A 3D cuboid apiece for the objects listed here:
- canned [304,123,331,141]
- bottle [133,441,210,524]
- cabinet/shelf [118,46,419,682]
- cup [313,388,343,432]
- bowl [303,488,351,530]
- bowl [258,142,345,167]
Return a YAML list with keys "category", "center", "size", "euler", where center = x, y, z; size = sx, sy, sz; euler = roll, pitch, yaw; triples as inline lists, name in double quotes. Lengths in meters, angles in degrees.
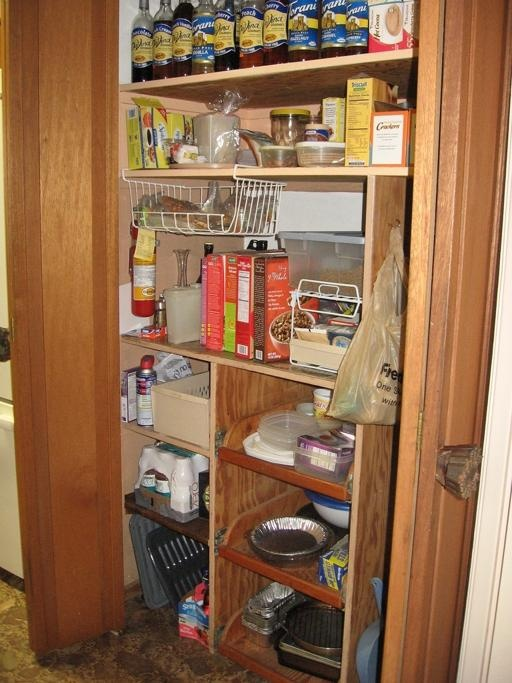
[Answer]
- category: "canned"
  center: [0.144, -0.493, 1.326]
  size: [0.063, 0.040, 0.057]
  euler: [1, 17, 2]
- category: "bottle"
  center: [-0.259, 0.434, 1.894]
  size: [0.270, 0.227, 0.199]
  euler: [17, 24, 36]
- category: "cabinet/shelf"
  center: [0.064, 0.078, 1.718]
  size: [0.649, 1.636, 1.028]
  euler: [-16, 23, -42]
- category: "cup"
  center: [0.202, 0.175, 1.581]
  size: [0.094, 0.093, 0.097]
  euler: [1, 19, 0]
- category: "bowl"
  center: [0.210, 0.477, 1.633]
  size: [0.129, 0.075, 0.132]
  euler: [3, 0, 0]
- category: "bowl"
  center: [0.097, -0.465, 1.401]
  size: [0.102, 0.057, 0.280]
  euler: [-11, 21, -32]
